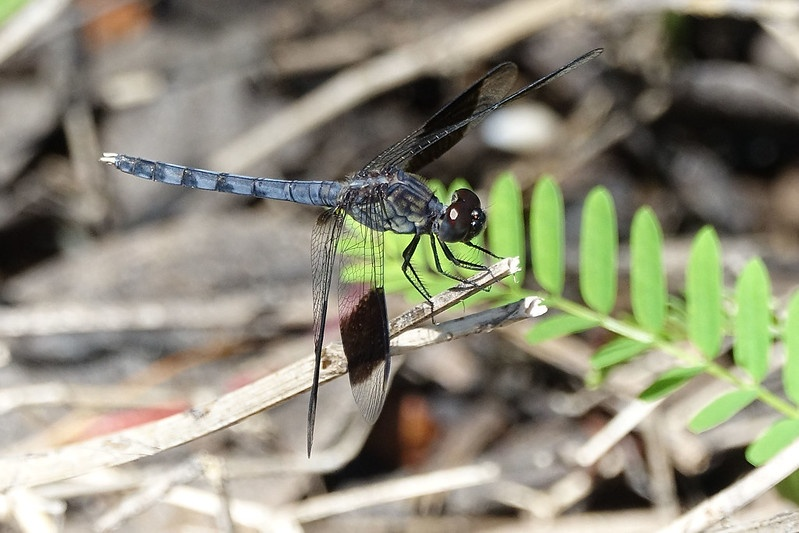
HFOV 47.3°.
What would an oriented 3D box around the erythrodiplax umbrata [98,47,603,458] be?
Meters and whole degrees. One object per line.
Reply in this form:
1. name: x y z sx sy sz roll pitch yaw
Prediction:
1. erythrodiplax umbrata: -0.149 -0.082 5.729 2.555 2.383 0.834 -5 -16 0
